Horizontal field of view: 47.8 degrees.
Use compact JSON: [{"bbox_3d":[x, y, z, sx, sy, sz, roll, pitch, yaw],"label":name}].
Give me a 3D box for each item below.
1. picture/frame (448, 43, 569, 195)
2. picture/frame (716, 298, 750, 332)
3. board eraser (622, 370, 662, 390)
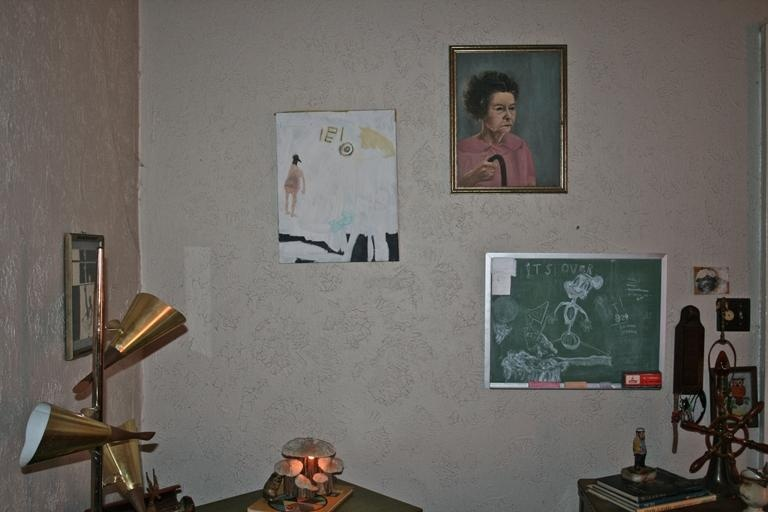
[{"bbox_3d":[0.715,-0.818,4.948,0.726,0.980,0.061,-1,0,-2],"label":"picture/frame"},{"bbox_3d":[2.004,0.329,4.966,0.199,0.188,0.045,0,1,-10],"label":"picture/frame"},{"bbox_3d":[1.473,0.694,4.935,0.223,0.098,0.016,1,1,-1],"label":"board eraser"}]
